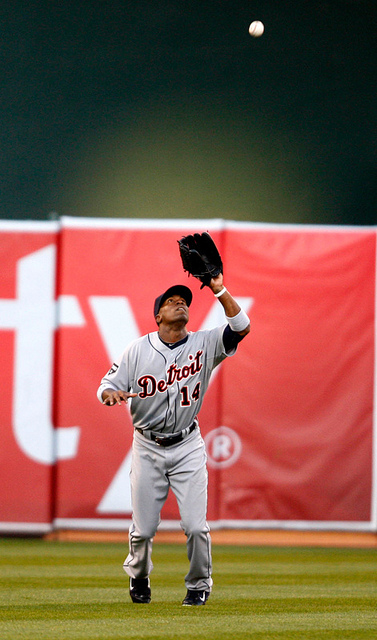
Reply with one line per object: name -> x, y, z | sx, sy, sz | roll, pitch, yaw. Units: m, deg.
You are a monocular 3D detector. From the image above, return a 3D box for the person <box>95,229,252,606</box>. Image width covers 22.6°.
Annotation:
person -> -0.089, 0.484, 4.584 | 0.712, 1.771, 0.375 | 3, 0, -5

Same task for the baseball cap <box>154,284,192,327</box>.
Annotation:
baseball cap -> -0.081, -0.105, 4.724 | 0.168, 0.188, 0.162 | 3, 0, -28

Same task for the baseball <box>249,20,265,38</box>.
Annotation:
baseball -> 0.533, -2.272, 7.291 | 0.113, 0.134, 0.106 | 3, 0, 9

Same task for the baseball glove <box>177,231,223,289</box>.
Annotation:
baseball glove -> 0.067, -0.295, 4.524 | 0.206, 0.259, 0.117 | -6, -14, 0
